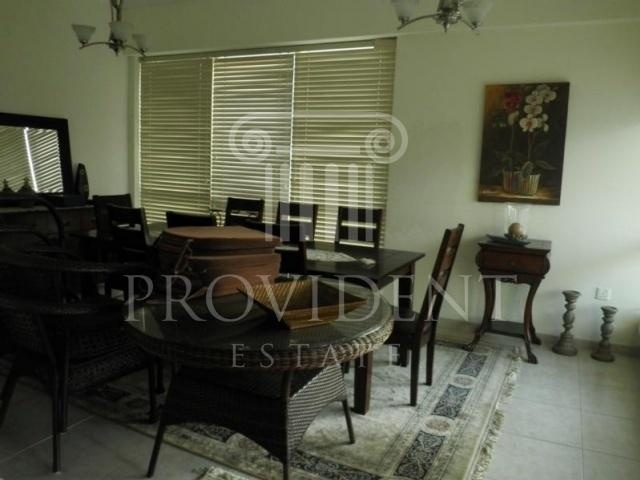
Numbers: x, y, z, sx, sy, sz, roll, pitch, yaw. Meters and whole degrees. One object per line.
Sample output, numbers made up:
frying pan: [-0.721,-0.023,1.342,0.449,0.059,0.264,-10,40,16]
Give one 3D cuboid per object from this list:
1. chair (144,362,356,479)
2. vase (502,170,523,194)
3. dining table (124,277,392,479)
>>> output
chair: [-0.315,0.700,2.467,0.755,0.556,0.690,2,0,30]
vase: [1.611,-0.478,4.234,0.176,0.179,0.164,7,10,40]
dining table: [-0.203,0.402,2.219,0.988,0.590,0.996,4,4,32]
